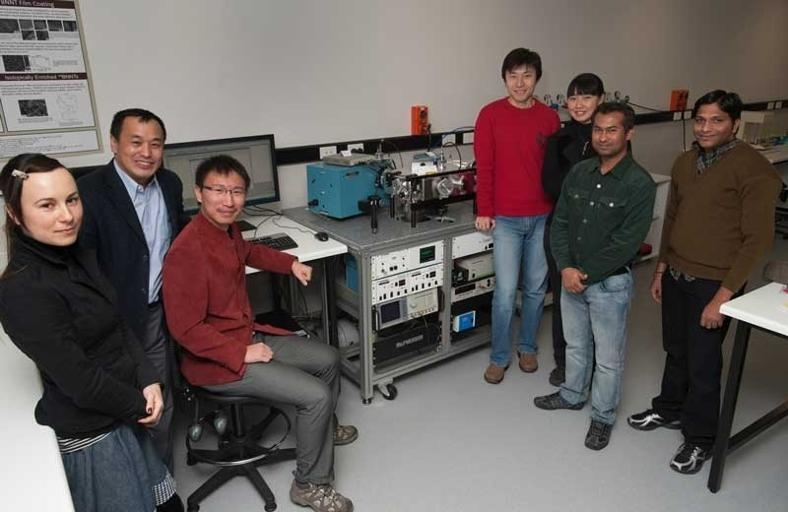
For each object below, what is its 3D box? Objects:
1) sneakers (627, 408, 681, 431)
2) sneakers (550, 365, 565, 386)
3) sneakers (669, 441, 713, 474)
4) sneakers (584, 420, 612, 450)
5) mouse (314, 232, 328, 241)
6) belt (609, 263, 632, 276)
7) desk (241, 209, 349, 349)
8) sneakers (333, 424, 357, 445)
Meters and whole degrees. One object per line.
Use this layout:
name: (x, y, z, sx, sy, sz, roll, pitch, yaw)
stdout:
sneakers: (1.587, 1.011, 3.250, 0.316, 0.139, 0.119, 2, 24, 11)
sneakers: (1.124, 0.818, 3.666, 0.076, 0.096, 0.147, 13, 21, 38)
sneakers: (1.726, 1.121, 3.051, 0.279, 0.111, 0.110, -11, 16, -44)
sneakers: (1.212, 1.065, 3.140, 0.098, 0.083, 0.216, 14, 50, 27)
mouse: (-0.463, -0.135, 3.421, 0.046, 0.025, 0.079, -16, 28, -39)
belt: (1.306, 0.073, 3.005, 0.128, 0.071, 0.092, 0, -2, -29)
desk: (-0.670, 0.250, 3.440, 0.551, 0.520, 0.474, 1, -6, -1)
sneakers: (-0.297, 1.075, 3.199, 0.187, 0.087, 0.066, -15, 37, -25)
